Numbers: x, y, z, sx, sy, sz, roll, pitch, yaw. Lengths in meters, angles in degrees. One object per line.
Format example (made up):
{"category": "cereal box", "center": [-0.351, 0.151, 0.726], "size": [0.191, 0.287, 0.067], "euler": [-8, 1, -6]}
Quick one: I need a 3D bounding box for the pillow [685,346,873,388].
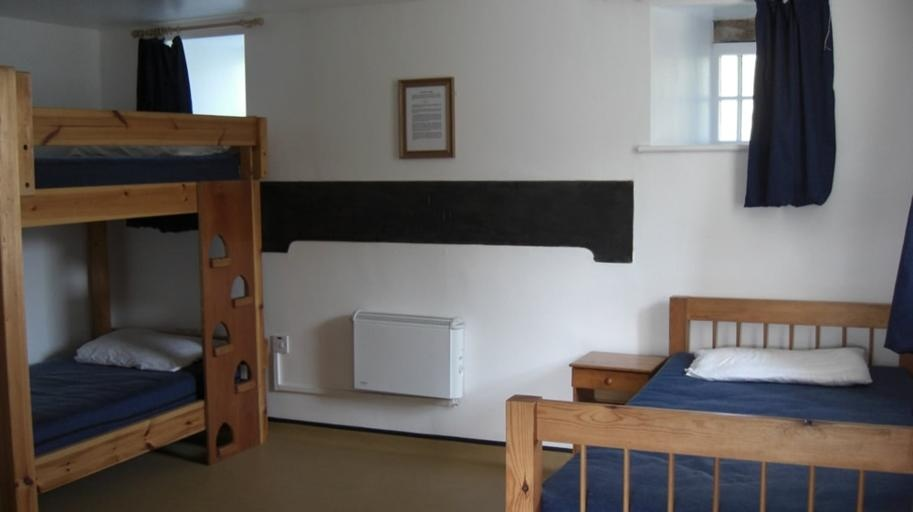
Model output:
{"category": "pillow", "center": [2.353, 0.806, 4.940], "size": [0.844, 0.106, 0.508], "euler": [1, 7, 15]}

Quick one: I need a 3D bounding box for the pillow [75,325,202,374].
{"category": "pillow", "center": [-2.882, 0.844, 6.090], "size": [0.813, 0.137, 0.495], "euler": [5, 19, 15]}

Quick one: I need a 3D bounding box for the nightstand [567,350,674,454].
{"category": "nightstand", "center": [1.291, 1.170, 5.444], "size": [0.609, 0.502, 0.435], "euler": [-1, -5, 31]}
